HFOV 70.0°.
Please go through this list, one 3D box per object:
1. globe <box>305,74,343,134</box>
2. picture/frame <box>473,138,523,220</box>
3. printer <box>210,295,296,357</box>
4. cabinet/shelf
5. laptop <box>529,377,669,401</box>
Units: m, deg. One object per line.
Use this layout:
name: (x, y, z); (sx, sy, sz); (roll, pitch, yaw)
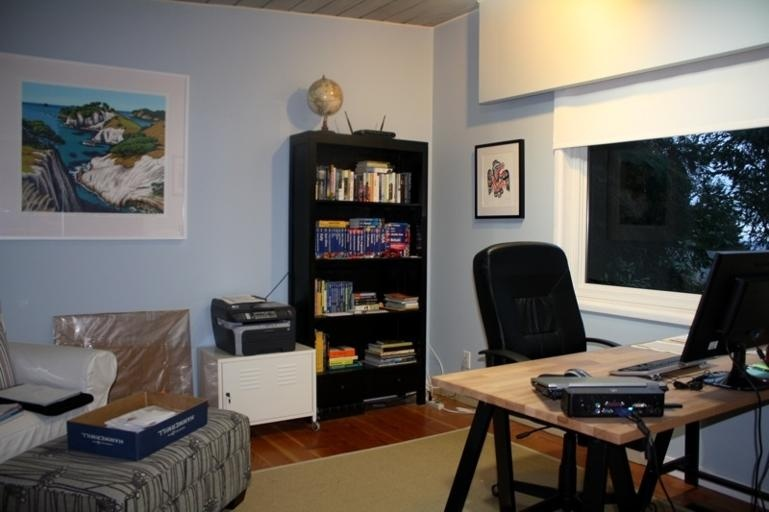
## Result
globe: (-0.530, -1.343, 4.858); (0.318, 0.469, 0.315); (-7, 29, -16)
picture/frame: (1.011, -0.677, 4.819); (0.113, 0.677, 0.572); (-6, 11, -37)
printer: (-1.068, 0.515, 4.460); (0.600, 0.436, 0.407); (0, 4, -41)
cabinet/shelf: (-0.587, 0.134, 5.431); (2.038, 2.420, 0.700); (0, 5, -37)
laptop: (0.991, 0.599, 2.514); (0.567, 0.119, 0.252); (0, 8, -2)
